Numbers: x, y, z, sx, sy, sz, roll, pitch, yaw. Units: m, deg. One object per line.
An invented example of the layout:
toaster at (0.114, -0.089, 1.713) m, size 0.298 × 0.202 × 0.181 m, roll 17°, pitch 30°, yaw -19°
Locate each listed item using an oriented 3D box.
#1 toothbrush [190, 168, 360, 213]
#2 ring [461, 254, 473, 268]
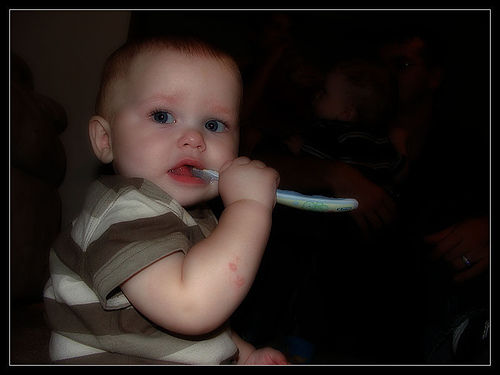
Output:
toothbrush at (0.054, 0.011, 1.212) m, size 0.303 × 0.049 × 0.068 m, roll 13°, pitch -11°, yaw 0°
ring at (0.650, 0.221, 1.385) m, size 0.053 × 0.016 × 0.012 m, roll 52°, pitch 34°, yaw -1°
